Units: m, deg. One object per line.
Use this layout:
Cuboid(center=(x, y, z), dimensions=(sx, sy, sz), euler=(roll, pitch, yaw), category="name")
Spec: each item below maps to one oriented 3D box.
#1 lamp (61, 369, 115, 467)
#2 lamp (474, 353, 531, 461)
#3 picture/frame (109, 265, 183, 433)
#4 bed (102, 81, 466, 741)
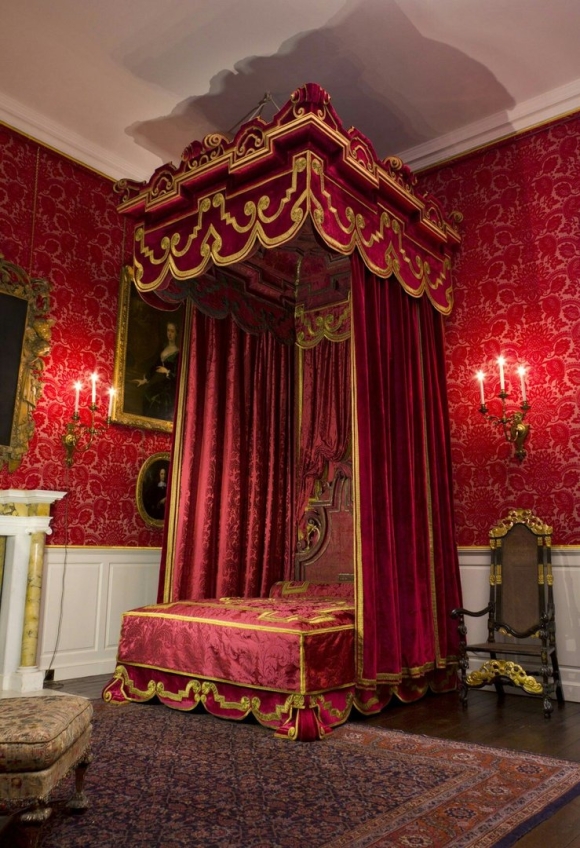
Cuboid(center=(-1.616, -0.035, 4.925), dimensions=(0.205, 0.683, 0.675), euler=(-2, -10, 19), category="lamp")
Cuboid(center=(1.530, -0.149, 4.410), dimensions=(0.309, 0.799, 0.535), euler=(0, -15, 3), category="lamp")
Cuboid(center=(-1.214, -0.597, 5.114), dimensions=(0.069, 1.348, 1.220), euler=(-4, -13, 24), category="picture/frame")
Cuboid(center=(-0.047, 0.039, 4.088), dimensions=(1.937, 3.308, 1.916), euler=(-11, -19, 38), category="bed")
